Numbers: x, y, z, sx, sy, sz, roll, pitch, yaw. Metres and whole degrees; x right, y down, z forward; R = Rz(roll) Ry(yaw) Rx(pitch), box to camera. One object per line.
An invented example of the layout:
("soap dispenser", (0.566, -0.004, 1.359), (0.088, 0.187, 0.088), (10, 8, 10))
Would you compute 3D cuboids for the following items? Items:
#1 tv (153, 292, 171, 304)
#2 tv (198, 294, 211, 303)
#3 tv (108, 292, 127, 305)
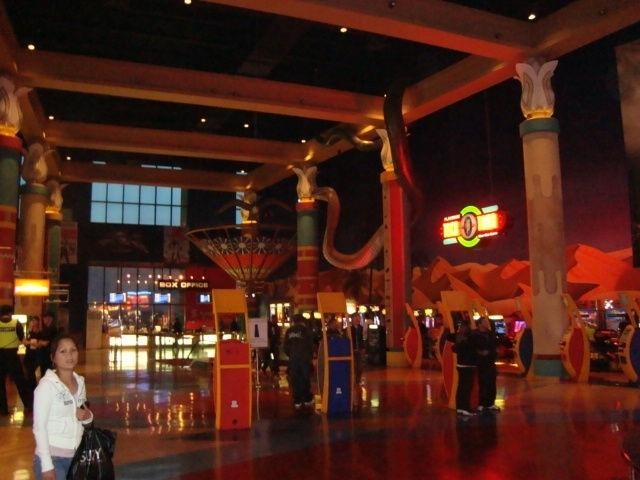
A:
("tv", (-10.370, 3.854, 35.454), (1.030, 0.718, 0.264), (1, -9, -18))
("tv", (-7.407, 3.622, 34.502), (0.793, 0.809, 0.605), (2, -12, -13))
("tv", (-12.858, 3.747, 34.122), (1.025, 1.025, 0.580), (3, -12, -21))
